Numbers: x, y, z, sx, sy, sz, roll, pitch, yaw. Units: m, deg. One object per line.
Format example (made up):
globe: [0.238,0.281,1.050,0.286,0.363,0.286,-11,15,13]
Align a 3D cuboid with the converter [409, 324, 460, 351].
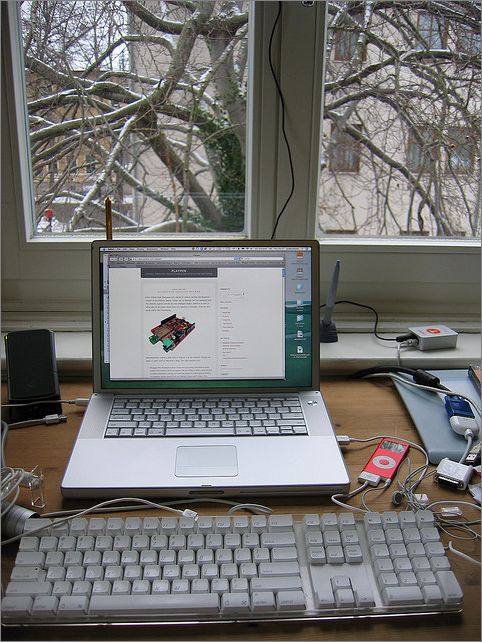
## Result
converter: [0.392,0.033,1.097,0.090,0.038,0.076,-4,15,-14]

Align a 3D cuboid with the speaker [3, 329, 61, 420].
speaker: [-0.349,0.087,0.880,0.084,0.157,0.040,-4,-14,-17]
